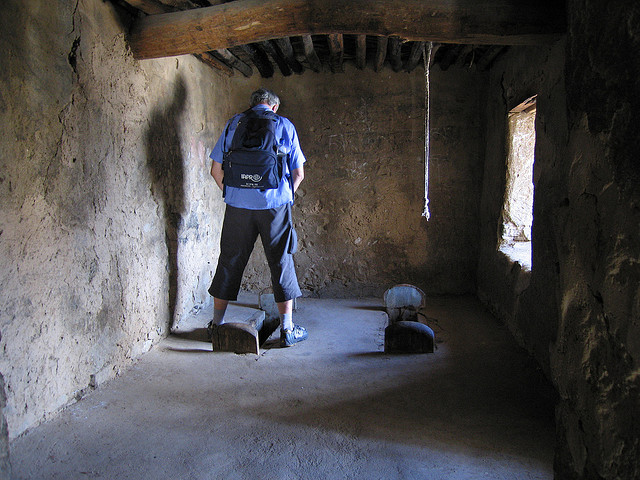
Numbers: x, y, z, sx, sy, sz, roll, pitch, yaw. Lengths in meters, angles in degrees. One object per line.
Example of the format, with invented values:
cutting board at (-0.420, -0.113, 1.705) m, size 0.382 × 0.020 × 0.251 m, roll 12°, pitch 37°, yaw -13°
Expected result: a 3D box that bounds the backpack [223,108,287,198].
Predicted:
backpack at (-0.448, -0.563, 3.616) m, size 0.398 × 0.659 × 0.362 m, roll 4°, pitch 5°, yaw -10°
